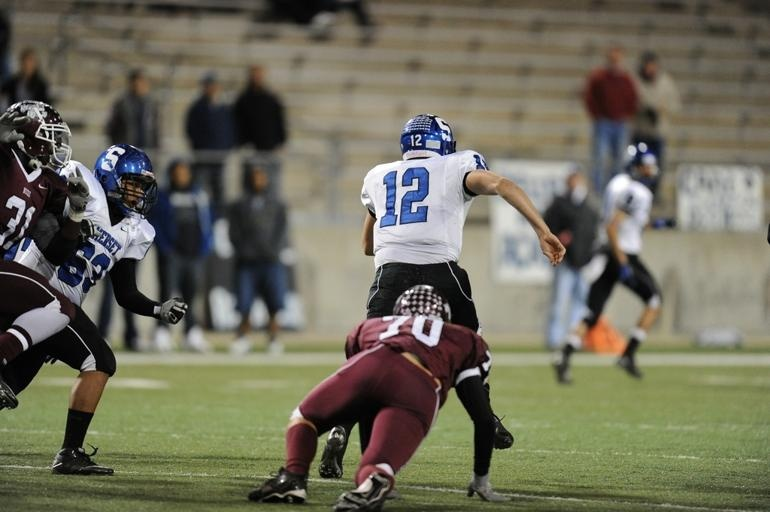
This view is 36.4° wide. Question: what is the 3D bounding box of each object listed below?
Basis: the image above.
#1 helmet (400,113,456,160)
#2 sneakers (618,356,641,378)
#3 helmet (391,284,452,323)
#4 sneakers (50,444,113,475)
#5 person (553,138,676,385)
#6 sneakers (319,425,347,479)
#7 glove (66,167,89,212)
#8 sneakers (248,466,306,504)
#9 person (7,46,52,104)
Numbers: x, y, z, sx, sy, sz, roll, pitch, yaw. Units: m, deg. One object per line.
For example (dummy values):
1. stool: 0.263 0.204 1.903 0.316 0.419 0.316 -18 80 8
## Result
1. helmet: 0.372 -0.987 9.551 0.307 0.347 0.414 3 8 39
2. sneakers: 2.579 1.154 12.278 0.090 0.193 0.268 -26 49 -35
3. helmet: 0.282 0.333 8.502 0.269 0.350 0.288 12 -4 6
4. sneakers: -2.334 1.589 9.110 0.538 0.300 0.199 4 -6 -8
5. person: 2.507 0.095 12.761 1.001 2.302 1.227 3 -1 7
6. sneakers: -0.373 1.514 9.013 0.167 0.515 0.211 11 -2 -1
7. glove: -2.346 -0.481 8.991 0.156 0.340 0.130 3 -1 -17
8. sneakers: -0.732 1.662 8.420 0.480 0.248 0.190 -1 -19 13
9. person: -4.969 -2.521 16.296 0.585 0.813 0.572 3 -1 -21
